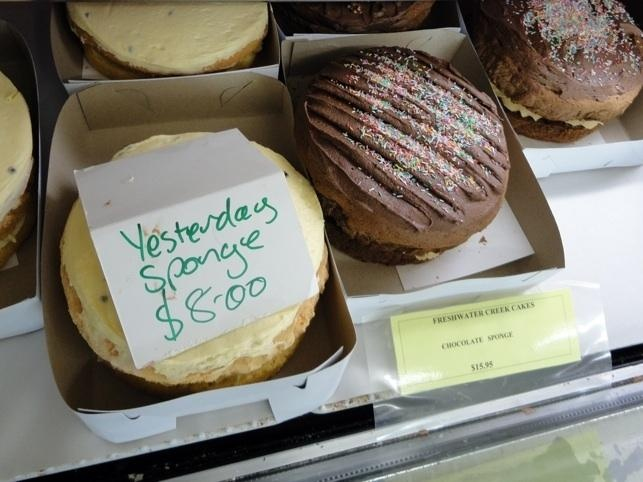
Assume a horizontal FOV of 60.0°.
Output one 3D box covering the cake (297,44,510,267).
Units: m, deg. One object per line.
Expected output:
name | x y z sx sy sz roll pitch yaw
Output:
cake | 0.241 -0.291 1.675 0.622 0.229 0.599 -4 61 -5
